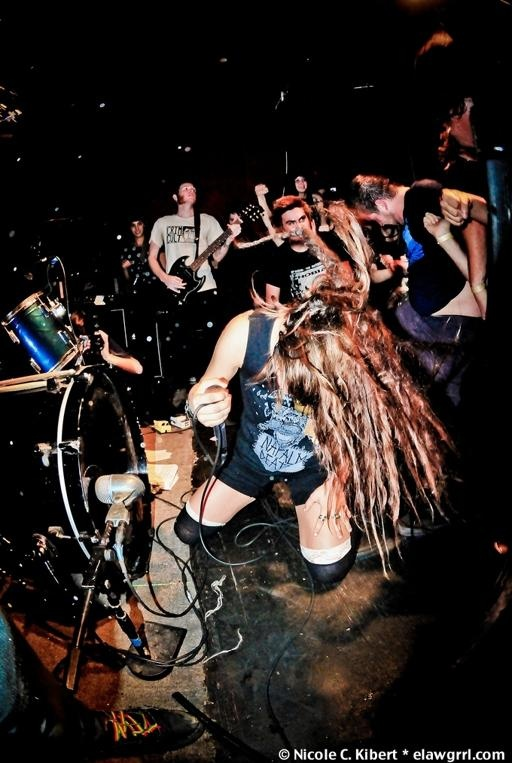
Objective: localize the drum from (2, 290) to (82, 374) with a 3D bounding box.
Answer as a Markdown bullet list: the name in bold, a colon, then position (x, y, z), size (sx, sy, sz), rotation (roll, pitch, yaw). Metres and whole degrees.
- **drum**: position (-0.710, -0.155, 1.937), size (0.190, 0.230, 0.168), rotation (-46, 27, -23)

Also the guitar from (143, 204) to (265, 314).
- **guitar**: position (-0.259, -0.638, 2.815), size (0.224, 0.610, 0.066), rotation (50, 34, 8)
